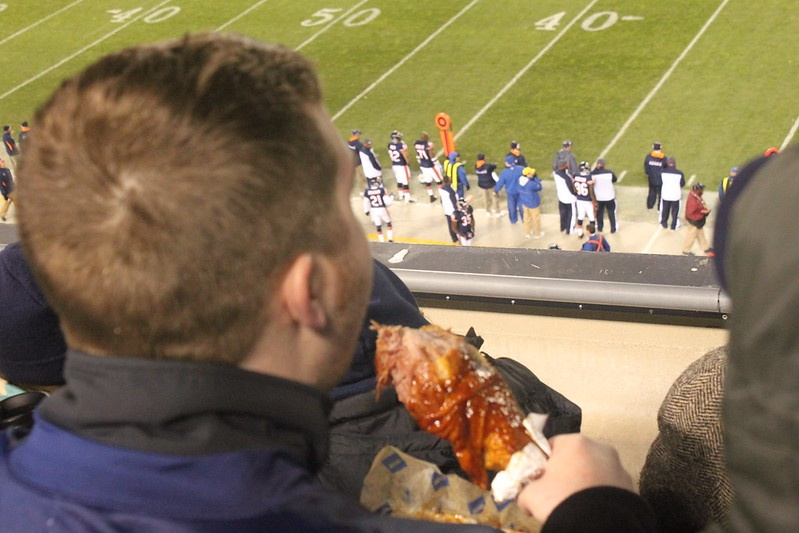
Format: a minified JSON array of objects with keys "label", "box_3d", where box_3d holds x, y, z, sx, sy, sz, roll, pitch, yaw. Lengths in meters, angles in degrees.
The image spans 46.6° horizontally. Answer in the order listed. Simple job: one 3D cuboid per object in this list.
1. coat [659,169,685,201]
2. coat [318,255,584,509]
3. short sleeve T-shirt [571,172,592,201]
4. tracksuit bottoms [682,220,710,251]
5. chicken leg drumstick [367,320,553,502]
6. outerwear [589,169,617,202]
[{"label":"coat","box_3d":[3.440,-1.007,11.719,0.339,0.235,0.410,12,72,30]},{"label":"coat","box_3d":[0.115,0.385,2.559,0.693,0.268,0.631,26,48,-14]},{"label":"short sleeve T-shirt","box_3d":[2.350,-1.022,11.918,0.321,0.324,0.178,11,22,43]},{"label":"tracksuit bottoms","box_3d":[3.621,-0.360,11.348,0.479,0.325,0.148,5,13,-42]},{"label":"chicken leg drumstick","box_3d":[0.225,0.325,2.227,0.244,0.119,0.458,2,40,-13]},{"label":"outerwear","box_3d":[2.591,-1.036,11.892,0.430,0.481,0.278,-3,26,18]}]
